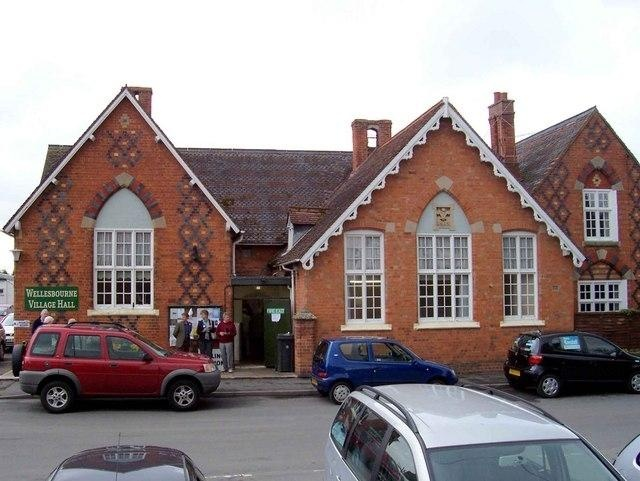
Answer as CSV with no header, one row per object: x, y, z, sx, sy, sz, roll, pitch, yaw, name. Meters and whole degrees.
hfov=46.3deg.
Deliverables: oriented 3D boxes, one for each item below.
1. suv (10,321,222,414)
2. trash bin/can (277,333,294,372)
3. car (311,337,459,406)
-5.444,3.533,20.287,4.579,2.053,2.352,-1,-3,-9,suv
-1.191,3.845,25.557,0.556,1.290,0.289,0,1,-4,trash bin/can
1.555,3.568,21.681,3.401,1.522,1.919,-2,-2,-9,car
